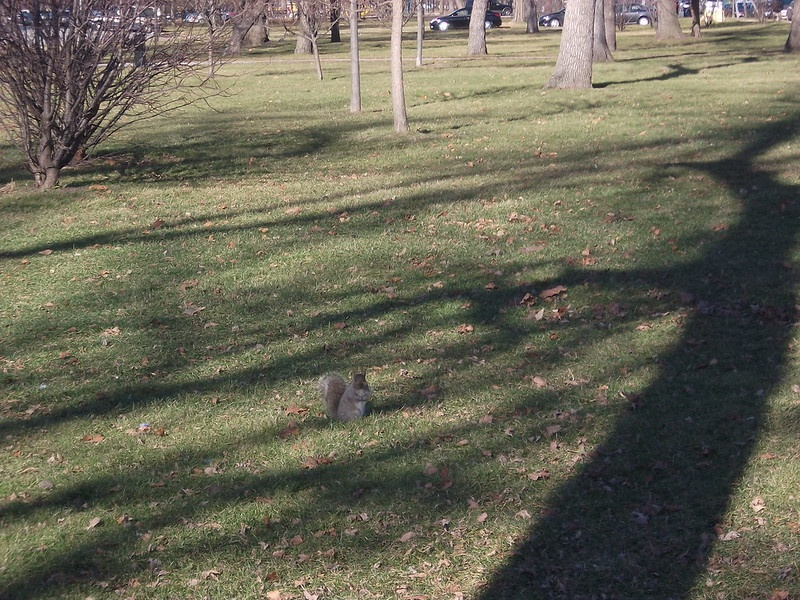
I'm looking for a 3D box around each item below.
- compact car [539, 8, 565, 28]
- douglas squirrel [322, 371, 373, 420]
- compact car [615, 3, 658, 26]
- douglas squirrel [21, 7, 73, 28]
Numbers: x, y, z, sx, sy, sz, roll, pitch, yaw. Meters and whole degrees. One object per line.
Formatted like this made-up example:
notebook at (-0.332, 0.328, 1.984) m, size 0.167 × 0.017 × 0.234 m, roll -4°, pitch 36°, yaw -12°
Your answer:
compact car at (12.805, -23.623, 78.983) m, size 1.174 × 1.189 × 2.873 m, roll -13°, pitch 21°, yaw -32°
douglas squirrel at (-0.843, 1.438, 14.305) m, size 0.447 × 0.919 × 1.240 m, roll -4°, pitch 8°, yaw -31°
compact car at (19.001, -23.190, 76.655) m, size 2.679 × 1.544 × 5.504 m, roll 2°, pitch 19°, yaw 13°
douglas squirrel at (-7.847, -6.240, 20.830) m, size 1.077 × 0.404 × 0.674 m, roll -7°, pitch 18°, yaw -15°
